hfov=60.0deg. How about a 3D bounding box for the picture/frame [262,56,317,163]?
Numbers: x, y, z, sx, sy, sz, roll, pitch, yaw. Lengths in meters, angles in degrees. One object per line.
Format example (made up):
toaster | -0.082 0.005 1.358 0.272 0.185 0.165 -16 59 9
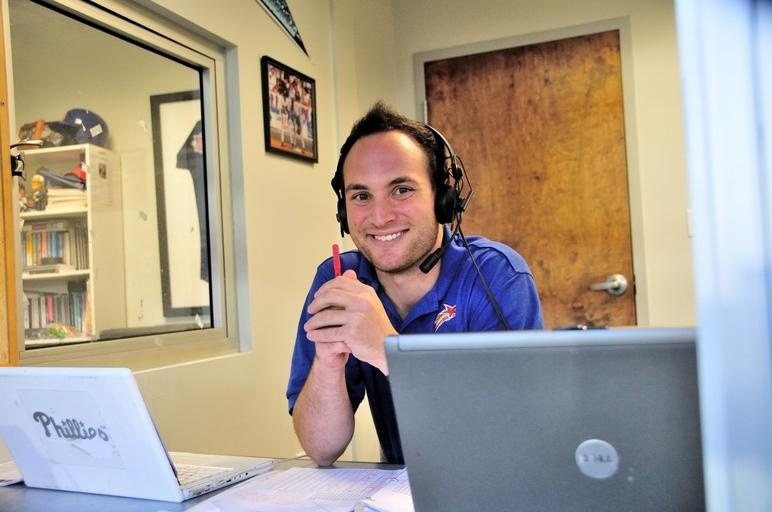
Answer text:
picture/frame | -0.452 -0.667 3.056 0.039 0.469 0.583 -2 0 21

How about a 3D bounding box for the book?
book | -1.062 0.000 2.157 0.046 0.591 0.256 -4 2 22

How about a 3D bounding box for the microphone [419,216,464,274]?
microphone | 0.154 -0.028 1.904 0.185 0.046 0.049 -46 -9 -17

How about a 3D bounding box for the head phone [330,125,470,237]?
head phone | 0.139 -0.273 2.102 0.368 0.396 0.149 0 10 12
